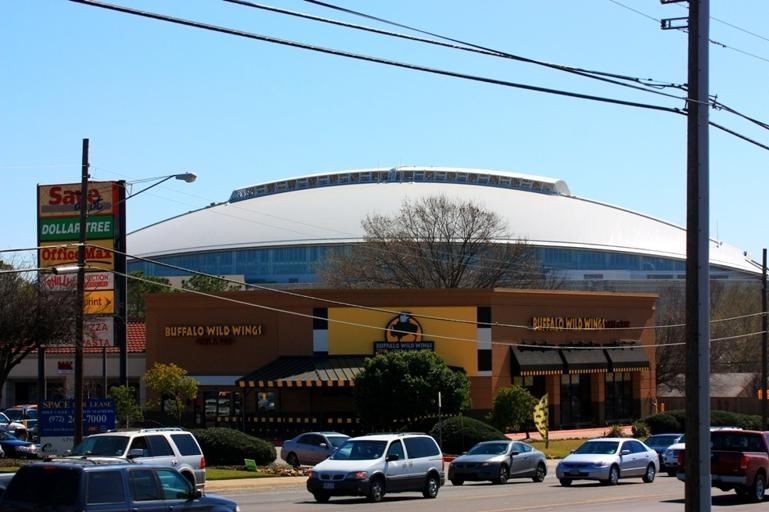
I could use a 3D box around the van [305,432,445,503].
[{"bbox_3d":[-0.247,10.254,74.630,6.289,3.238,1.656,2,0,-18],"label":"van"}]
